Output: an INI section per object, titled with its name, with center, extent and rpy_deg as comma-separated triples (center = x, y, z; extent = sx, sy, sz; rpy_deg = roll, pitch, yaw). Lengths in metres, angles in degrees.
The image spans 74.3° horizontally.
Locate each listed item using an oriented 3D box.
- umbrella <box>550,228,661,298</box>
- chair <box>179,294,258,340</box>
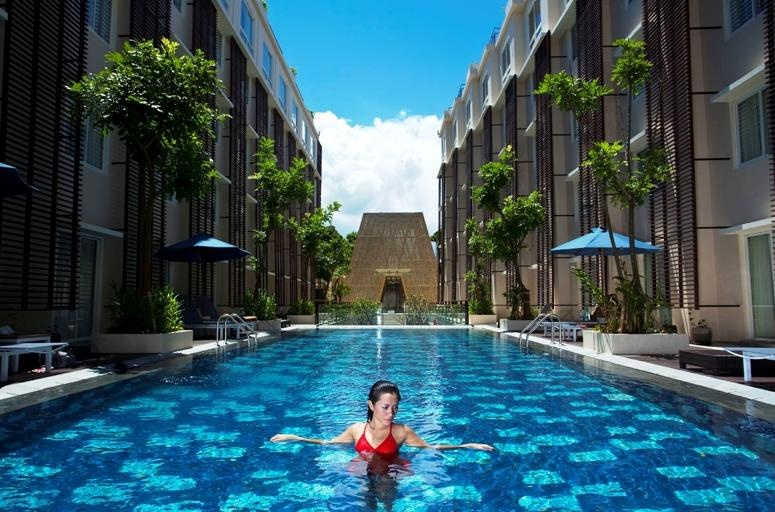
[umbrella]
center = 6.795, 0.233, 15.867
extent = 2.533, 1.132, 2.441
rpy_deg = 0, -8, 2
[chair]
center = -5.345, 1.961, 15.911
extent = 1.896, 1.026, 1.393
rpy_deg = 0, -1, 20
